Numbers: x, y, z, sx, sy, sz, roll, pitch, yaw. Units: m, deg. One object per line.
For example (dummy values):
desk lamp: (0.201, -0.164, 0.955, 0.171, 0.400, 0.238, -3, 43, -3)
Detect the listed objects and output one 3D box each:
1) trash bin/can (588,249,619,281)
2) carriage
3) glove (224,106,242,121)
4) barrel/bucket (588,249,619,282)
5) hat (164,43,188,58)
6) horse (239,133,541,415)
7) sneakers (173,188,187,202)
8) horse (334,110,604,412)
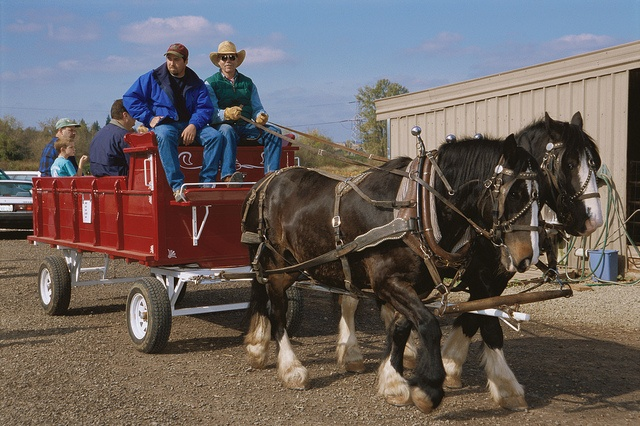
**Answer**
trash bin/can: (4.756, 0.873, 11.302, 0.461, 0.505, 0.516, 0, -3, -4)
carriage: (-0.960, 0.609, 9.468, 2.798, 3.126, 8.143, 2, -3, -43)
glove: (-1.197, -1.371, 9.316, 0.192, 0.112, 0.250, 0, 6, -1)
barrel/bucket: (4.752, 0.868, 11.299, 0.462, 0.506, 0.521, 0, -3, -5)
hat: (-1.945, -2.202, 9.214, 0.260, 0.178, 0.434, -4, 14, -13)
horse: (0.628, 0.667, 7.813, 3.664, 3.083, 1.281, 2, 5, 29)
sneakers: (-1.760, -0.208, 8.472, 0.089, 0.097, 0.229, 1, -9, -27)
horse: (2.130, 0.406, 10.267, 1.552, 4.717, 5.869, -2, 14, -7)
